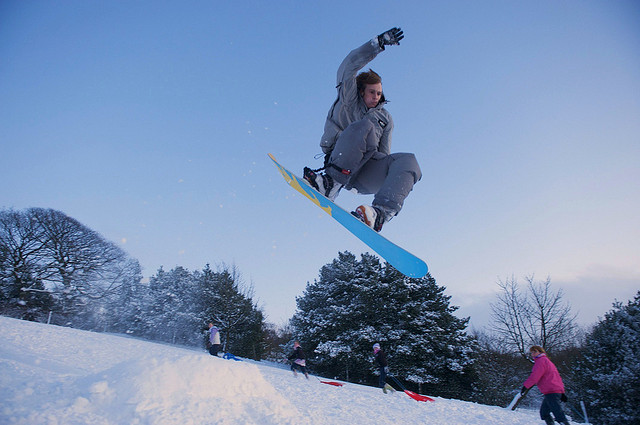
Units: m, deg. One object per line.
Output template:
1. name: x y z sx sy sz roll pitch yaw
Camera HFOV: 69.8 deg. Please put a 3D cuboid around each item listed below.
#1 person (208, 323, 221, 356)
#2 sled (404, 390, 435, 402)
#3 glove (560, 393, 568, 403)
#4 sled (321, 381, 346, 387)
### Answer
1. person: -4.841 5.728 20.747 0.549 1.560 1.339 6 -24 -11
2. sled: 3.435 6.602 16.578 0.273 0.187 1.294 17 -8 -17
3. glove: 7.122 5.454 13.423 0.111 0.370 0.067 3 12 -1
4. sled: 0.565 6.867 18.351 0.713 0.175 1.081 -13 -27 30
